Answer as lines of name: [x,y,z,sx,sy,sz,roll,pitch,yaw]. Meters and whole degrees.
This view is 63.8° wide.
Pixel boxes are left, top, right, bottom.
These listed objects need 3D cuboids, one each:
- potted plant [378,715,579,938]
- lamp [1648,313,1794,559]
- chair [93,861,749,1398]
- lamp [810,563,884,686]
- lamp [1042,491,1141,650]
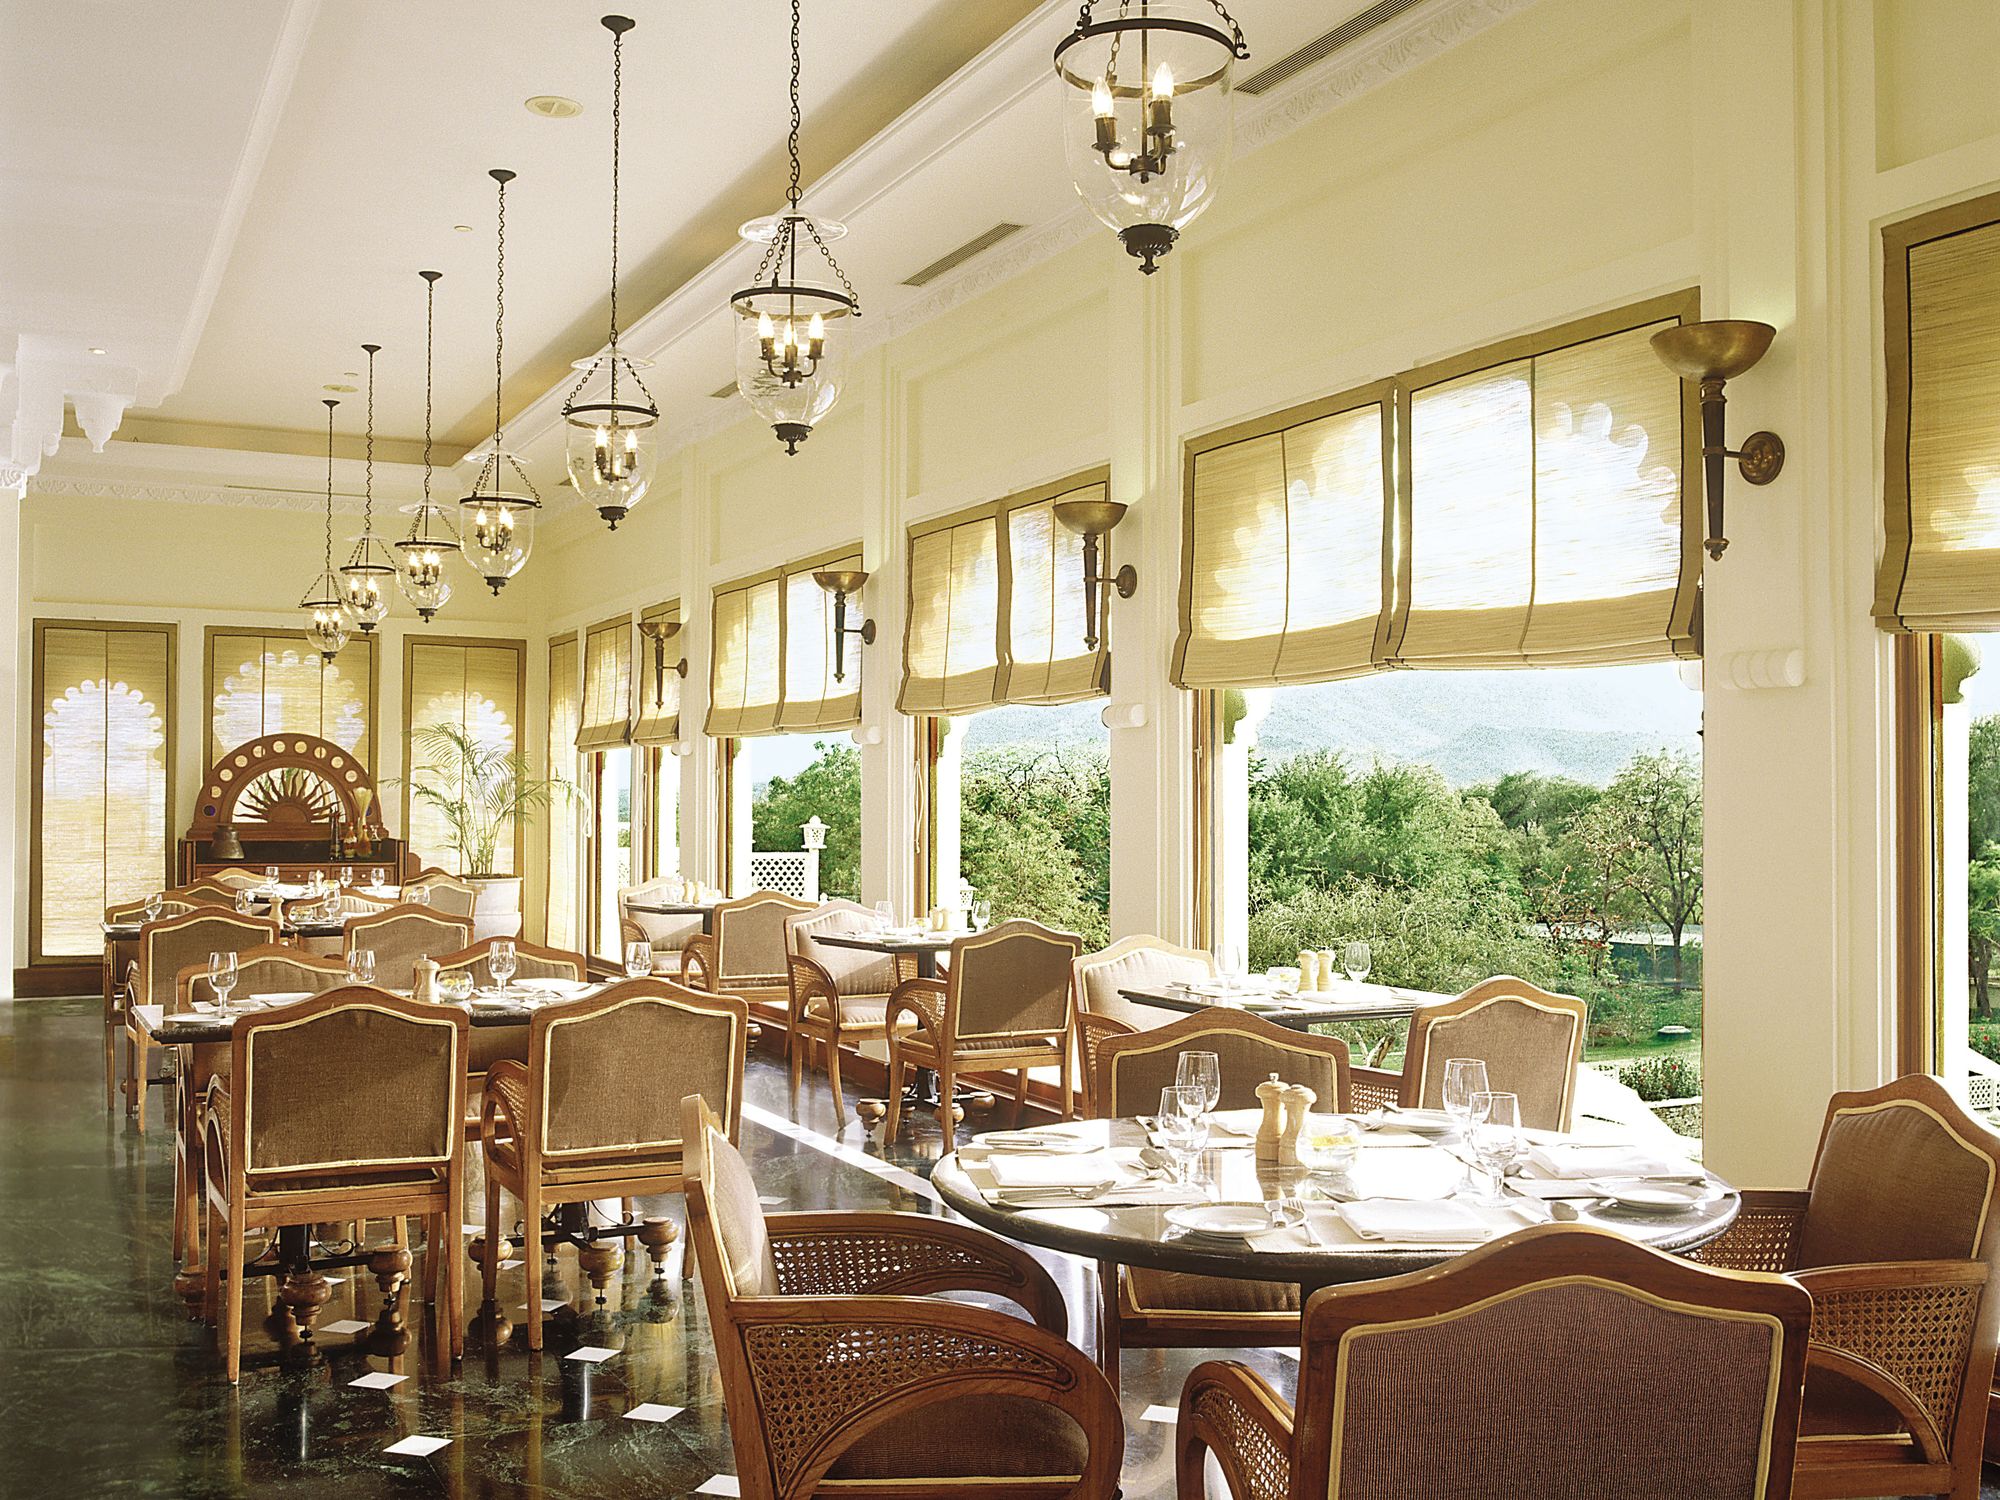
potted plant: [-4.794,0.846,15.512,1.457,1.332,1.069,2,0,-34]
lamp: [2.240,-0.969,5.079,0.416,0.721,0.341,-2,2,-37]
chair: [-1.966,1.287,5.214,1.995,1.184,1.246,0,2,37]
lamp: [-1.005,-0.784,10.147,0.369,0.731,0.810,-1,1,-11]
lamp: [0.496,-0.847,7.849,0.402,0.700,0.364,0,2,18]
